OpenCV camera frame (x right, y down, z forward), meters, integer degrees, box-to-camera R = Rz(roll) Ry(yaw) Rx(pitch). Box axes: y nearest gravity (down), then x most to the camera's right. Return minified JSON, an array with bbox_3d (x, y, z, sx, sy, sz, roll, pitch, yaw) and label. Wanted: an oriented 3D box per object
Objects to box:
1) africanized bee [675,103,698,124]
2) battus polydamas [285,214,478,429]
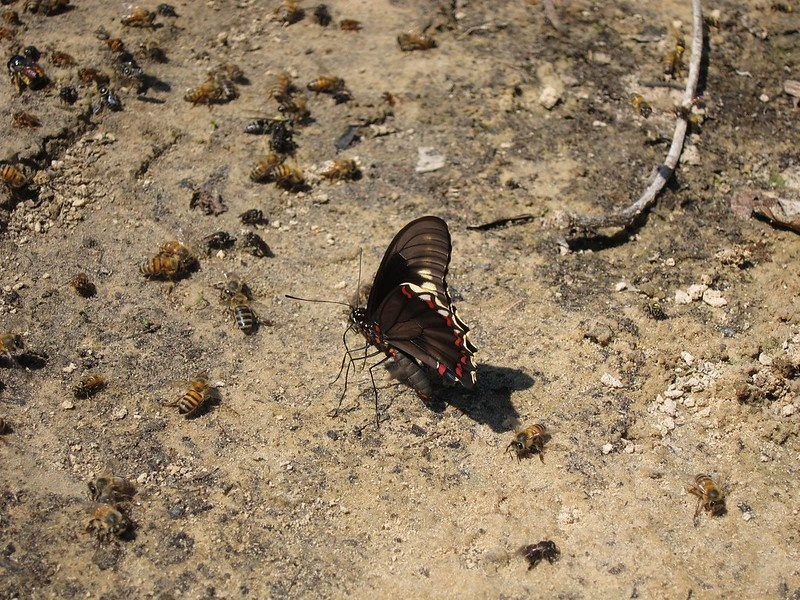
[{"bbox_3d":[6.173,-3.971,19.546,0.342,0.164,0.461,-32,99,2],"label":"africanized bee"},{"bbox_3d":[-0.244,0.390,17.469,3.592,2.083,4.106,8,95,7],"label":"battus polydamas"}]
